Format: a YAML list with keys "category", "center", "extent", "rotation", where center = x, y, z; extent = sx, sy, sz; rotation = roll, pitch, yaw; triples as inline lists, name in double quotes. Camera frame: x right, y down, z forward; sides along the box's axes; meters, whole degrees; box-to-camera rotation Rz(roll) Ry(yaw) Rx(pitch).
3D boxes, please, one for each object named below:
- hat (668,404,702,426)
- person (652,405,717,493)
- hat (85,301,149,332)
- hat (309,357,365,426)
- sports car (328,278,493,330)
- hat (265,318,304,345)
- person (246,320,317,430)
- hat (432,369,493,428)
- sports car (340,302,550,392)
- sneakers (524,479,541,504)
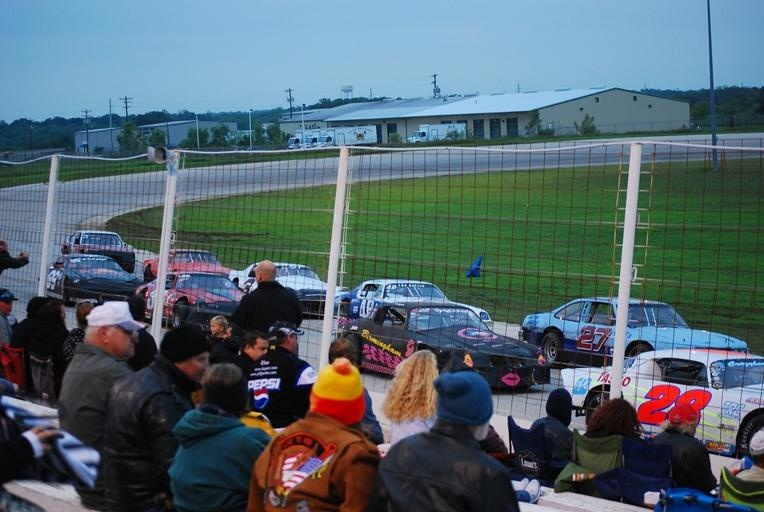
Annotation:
- category: "hat"
  center: [3.082, 1.599, 7.632]
  extent: [0.253, 0.165, 0.187]
  rotation: [-4, 13, -36]
- category: "person"
  center: [3.059, 1.982, 7.563]
  extent: [0.522, 1.002, 0.635]
  rotation: [-8, 10, -35]
- category: "hat"
  center: [-2.458, 0.537, 6.967]
  extent: [0.413, 0.204, 0.270]
  rotation: [0, 7, -11]
- category: "hat"
  center: [-0.297, 0.962, 5.602]
  extent: [0.447, 0.480, 0.419]
  rotation: [3, 27, 0]
- category: "sports car"
  center: [0.088, 0.838, 15.507]
  extent: [1.367, 0.807, 2.730]
  rotation: [-1, 2, -43]
- category: "hat"
  center: [-0.957, 0.790, 7.720]
  extent: [0.300, 0.173, 0.213]
  rotation: [-7, 10, -27]
- category: "person"
  center: [-0.992, 1.190, 7.401]
  extent: [0.729, 0.828, 0.443]
  rotation: [8, 20, 28]
- category: "hat"
  center: [0.591, 0.985, 5.290]
  extent: [0.445, 0.361, 0.375]
  rotation: [-3, -1, 5]
- category: "sports car"
  center: [0.798, 1.407, 12.737]
  extent: [1.672, 1.121, 3.217]
  rotation: [2, 1, -42]
- category: "sneakers"
  center: [1.430, 2.239, 7.126]
  extent: [0.087, 0.109, 0.274]
  rotation: [0, 30, 14]
